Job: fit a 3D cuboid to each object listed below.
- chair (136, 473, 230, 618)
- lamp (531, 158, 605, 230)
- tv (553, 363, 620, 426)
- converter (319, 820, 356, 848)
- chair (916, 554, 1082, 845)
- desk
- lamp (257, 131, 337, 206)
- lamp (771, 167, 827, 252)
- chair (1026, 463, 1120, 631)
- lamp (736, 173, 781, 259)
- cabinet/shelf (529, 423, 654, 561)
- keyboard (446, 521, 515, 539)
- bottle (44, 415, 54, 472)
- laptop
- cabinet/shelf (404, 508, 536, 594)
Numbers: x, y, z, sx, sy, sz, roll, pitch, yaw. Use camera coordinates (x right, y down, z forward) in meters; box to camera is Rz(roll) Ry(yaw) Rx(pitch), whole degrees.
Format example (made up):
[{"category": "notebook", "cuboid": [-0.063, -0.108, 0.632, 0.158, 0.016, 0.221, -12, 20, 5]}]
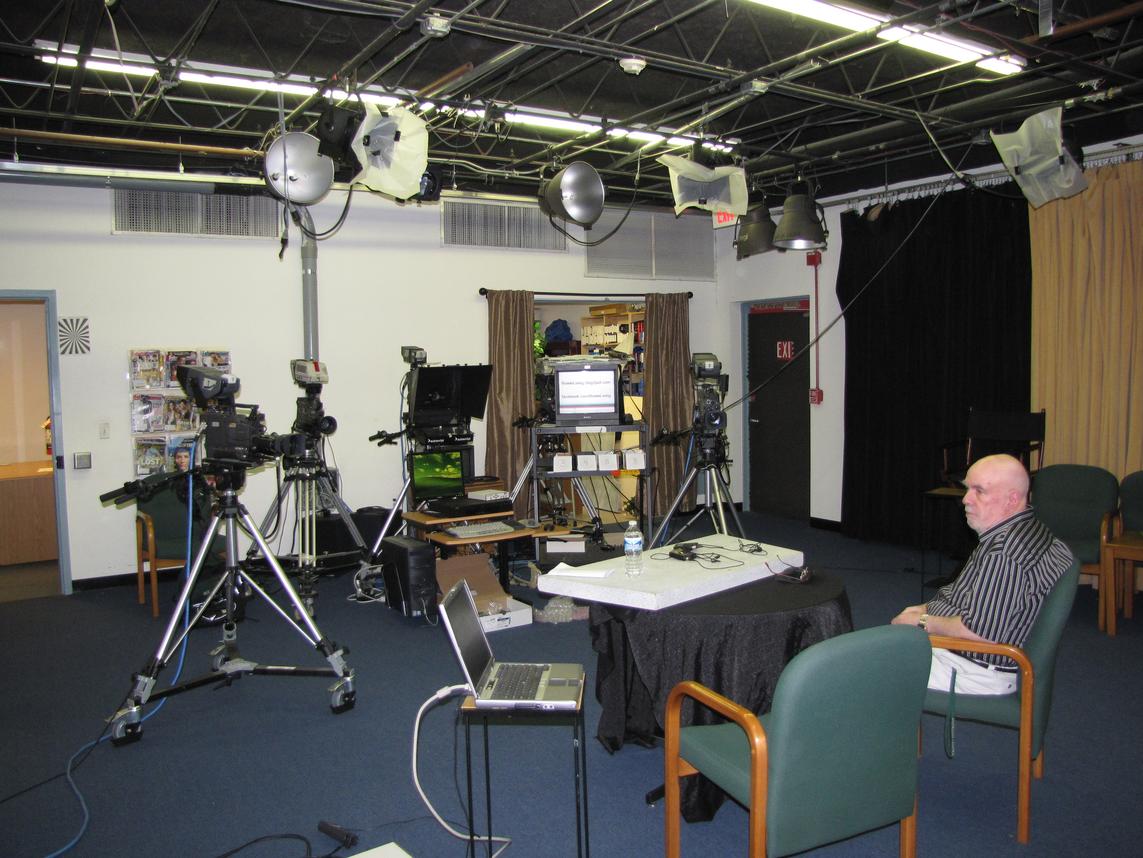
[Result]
[{"category": "chair", "cuboid": [-3.226, 0.910, 7.792, 0.748, 1.235, 0.758, -2, 8, -19]}, {"category": "lamp", "cuboid": [-0.056, -1.742, 7.058, 0.369, 0.478, 0.426, -1, 3, 34]}, {"category": "tv", "cuboid": [0.135, -0.260, 8.020, 0.481, 0.592, 0.498, 0, -1, -1]}, {"category": "converter", "cuboid": [-1.193, 2.059, 4.816, 0.242, 0.089, 0.123, 2, 6, 41]}, {"category": "chair", "cuboid": [2.267, 1.369, 4.868, 0.853, 1.372, 0.585, -5, 5, -37]}, {"category": "desk", "cuboid": [0.665, 1.137, 5.118, 1.010, 0.785, 1.023, -1, 0, -25]}, {"category": "lamp", "cuboid": [-1.788, -1.718, 6.171, 0.430, 0.442, 0.240, -4, 4, -22]}, {"category": "lamp", "cuboid": [1.773, -1.700, 7.344, 0.393, 0.580, 0.366, -1, 4, 13]}, {"category": "chair", "cuboid": [3.993, 0.766, 7.438, 0.823, 1.655, 0.898, 0, -3, 32]}, {"category": "lamp", "cuboid": [1.611, -1.728, 8.046, 0.393, 0.542, 0.455, -4, -5, 36]}, {"category": "cabinet/shelf", "cuboid": [0.068, 0.537, 8.683, 0.988, 1.439, 1.153, 0, -2, 31]}, {"category": "keyboard", "cuboid": [-0.706, 0.774, 7.260, 0.513, 0.063, 0.320, -4, 5, -19]}, {"category": "bottle", "cuboid": [-5.841, 0.092, 10.478, 0.060, 0.465, 0.844, -4, 5, -32]}, {"category": "laptop", "cuboid": [-0.253, 1.074, 4.442, 0.530, 0.476, 0.623, -1, 4, 3]}, {"category": "cabinet/shelf", "cuboid": [-0.823, 0.984, 7.493, 0.812, 0.583, 0.782, 10, 6, 38]}]
